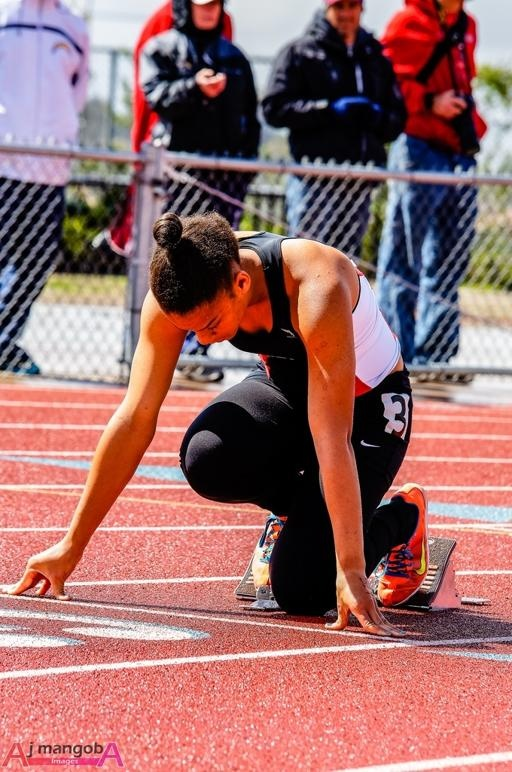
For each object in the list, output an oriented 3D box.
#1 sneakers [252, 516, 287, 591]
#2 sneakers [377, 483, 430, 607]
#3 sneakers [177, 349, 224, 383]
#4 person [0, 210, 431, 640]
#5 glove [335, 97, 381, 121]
[{"bbox_3d":[0.029,0.401,2.166,0.059,0.114,0.152,42,43,-22],"label":"sneakers"},{"bbox_3d":[0.370,0.395,2.207,0.118,0.292,0.123,19,2,27],"label":"sneakers"},{"bbox_3d":[-0.354,-0.104,5.591,0.130,0.245,0.377,-2,0,-39],"label":"sneakers"},{"bbox_3d":[-0.075,0.107,2.187,1.041,0.924,0.901,3,10,38],"label":"person"},{"bbox_3d":[0.554,-1.520,4.881,0.196,0.105,0.243,5,1,28],"label":"glove"}]
